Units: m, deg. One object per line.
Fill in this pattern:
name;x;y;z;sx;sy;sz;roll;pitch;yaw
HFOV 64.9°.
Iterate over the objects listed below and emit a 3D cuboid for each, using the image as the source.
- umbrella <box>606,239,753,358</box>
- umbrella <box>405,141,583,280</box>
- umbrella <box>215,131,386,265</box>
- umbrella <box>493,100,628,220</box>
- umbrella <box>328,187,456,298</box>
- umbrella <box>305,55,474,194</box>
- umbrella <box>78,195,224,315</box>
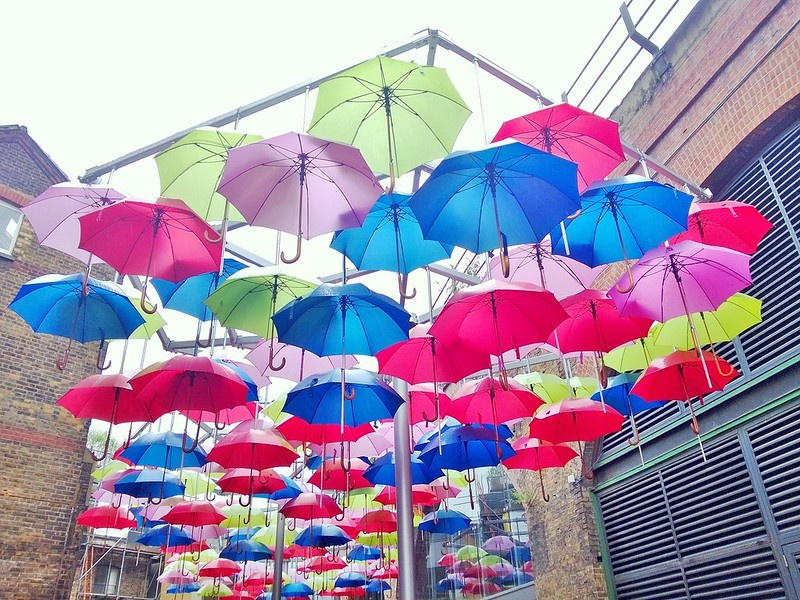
umbrella;2.949;-0.179;6.568;1.029;0.363;1.077;9;-47;-4
umbrella;0.842;-0.791;5.766;1.437;0.938;1.427;8;-34;-6
umbrella;-1.101;-0.978;6.813;1.648;1.617;1.168;4;-60;-12
umbrella;1.635;-1.519;6.371;1.021;0.430;1.005;22;-47;-22
umbrella;-0.074;-0.709;6.905;1.163;0.944;1.263;-28;-46;28
umbrella;-0.183;-2.032;7.184;1.763;1.563;1.317;7;-62;11
umbrella;-2.737;-0.868;7.128;1.254;0.903;1.276;24;-50;-20
